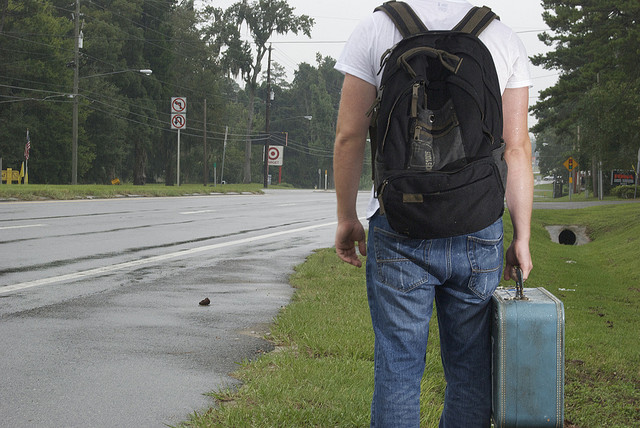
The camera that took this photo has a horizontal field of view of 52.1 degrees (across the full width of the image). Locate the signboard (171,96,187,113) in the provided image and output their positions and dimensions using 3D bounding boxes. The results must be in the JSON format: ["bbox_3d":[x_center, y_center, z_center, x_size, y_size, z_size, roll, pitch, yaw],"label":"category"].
[{"bbox_3d":[-9.839,-7.690,45.820,0.902,1.138,2.003,2,1,-16],"label":"signboard"}]

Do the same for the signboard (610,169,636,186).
[{"bbox_3d":[19.530,-2.666,42.399,1.509,1.258,0.895,2,4,16],"label":"signboard"}]

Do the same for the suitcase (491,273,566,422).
[{"bbox_3d":[1.360,0.894,4.297,0.455,0.921,0.285,2,0,19],"label":"suitcase"}]
